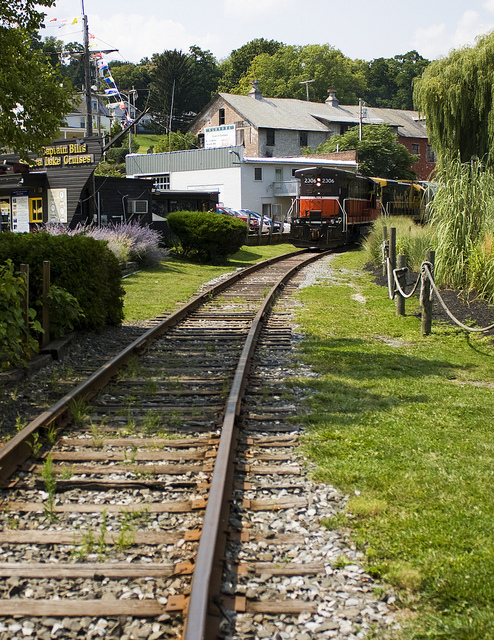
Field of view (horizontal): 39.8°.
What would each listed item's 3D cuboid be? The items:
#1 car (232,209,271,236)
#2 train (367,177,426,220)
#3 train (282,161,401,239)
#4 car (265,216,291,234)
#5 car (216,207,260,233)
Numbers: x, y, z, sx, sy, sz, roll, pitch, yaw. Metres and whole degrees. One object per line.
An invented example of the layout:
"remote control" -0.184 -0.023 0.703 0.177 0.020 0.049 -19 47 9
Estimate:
"car" 0.472 -5.731 40.312 1.397 1.020 3.004 2 18 0
"train" 7.933 -6.577 38.240 5.125 2.356 1.646 -6 4 -45
"train" 4.291 -6.075 34.101 4.006 4.393 13.909 2 10 16
"car" 1.840 -5.464 39.514 1.853 0.819 3.051 4 13 14
"car" -0.218 -5.784 38.743 1.344 0.969 2.841 -8 21 -28
